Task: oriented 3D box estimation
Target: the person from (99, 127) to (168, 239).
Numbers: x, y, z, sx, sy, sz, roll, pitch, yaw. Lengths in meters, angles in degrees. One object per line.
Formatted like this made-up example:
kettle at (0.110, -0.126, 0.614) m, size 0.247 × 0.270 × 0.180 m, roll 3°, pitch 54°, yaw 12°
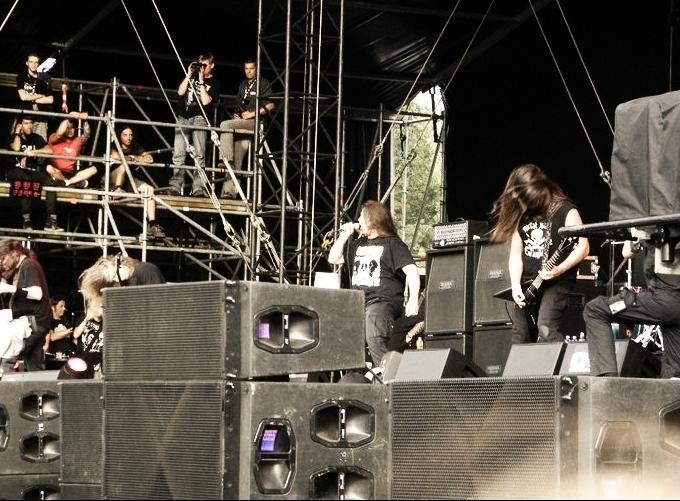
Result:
person at (-2.519, -0.877, 17.414) m, size 0.671 × 1.534 × 1.731 m, roll -1°, pitch -4°, yaw -9°

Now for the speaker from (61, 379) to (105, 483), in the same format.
speaker at (-2.099, 1.476, 11.345) m, size 0.430 × 0.844 × 0.123 m, roll -2°, pitch -4°, yaw 20°

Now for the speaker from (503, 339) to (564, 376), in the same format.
speaker at (1.468, 0.814, 10.557) m, size 0.459 × 0.233 × 0.267 m, roll -2°, pitch -4°, yaw 8°

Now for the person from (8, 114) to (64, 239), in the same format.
person at (-3.676, -0.951, 16.830) m, size 0.615 × 1.459 × 0.665 m, roll 0°, pitch -4°, yaw -22°

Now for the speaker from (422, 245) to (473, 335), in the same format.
speaker at (0.909, 0.379, 14.222) m, size 0.657 × 0.878 × 0.607 m, roll -2°, pitch 8°, yaw -22°

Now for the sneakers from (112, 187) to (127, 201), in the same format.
sneakers at (-2.690, -0.715, 17.099) m, size 0.115 × 0.136 × 0.335 m, roll 1°, pitch -7°, yaw -10°

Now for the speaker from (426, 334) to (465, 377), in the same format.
speaker at (1.060, 1.041, 13.547) m, size 0.252 × 0.430 × 0.466 m, roll 1°, pitch -10°, yaw 20°

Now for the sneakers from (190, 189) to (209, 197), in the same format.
sneakers at (-1.735, -0.726, 17.384) m, size 0.106 × 0.062 × 0.142 m, roll -1°, pitch -4°, yaw 25°

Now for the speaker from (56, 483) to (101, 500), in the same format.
speaker at (-2.075, 1.935, 11.224) m, size 0.300 × 0.093 × 0.656 m, roll 0°, pitch -4°, yaw -13°

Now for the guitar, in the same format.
guitar at (1.703, 0.204, 11.933) m, size 0.739 × 0.384 × 0.109 m, roll -44°, pitch 13°, yaw 27°

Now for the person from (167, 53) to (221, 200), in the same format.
person at (-1.826, -1.564, 17.421) m, size 0.598 × 1.766 × 0.901 m, roll -1°, pitch -4°, yaw -7°

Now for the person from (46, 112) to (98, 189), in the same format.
person at (-3.312, -1.270, 17.204) m, size 0.676 × 0.911 × 0.707 m, roll 5°, pitch 4°, yaw 15°

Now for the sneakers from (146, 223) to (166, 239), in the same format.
sneakers at (-2.248, -0.250, 17.163) m, size 0.208 × 0.192 × 0.284 m, roll -1°, pitch -4°, yaw -7°

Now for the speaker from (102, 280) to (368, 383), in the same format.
speaker at (-0.718, 0.587, 10.266) m, size 1.064 × 0.470 × 1.039 m, roll 2°, pitch -6°, yaw -35°

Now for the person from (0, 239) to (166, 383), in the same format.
person at (-1.924, 0.585, 12.698) m, size 1.539 × 1.369 × 0.368 m, roll -2°, pitch -1°, yaw 28°

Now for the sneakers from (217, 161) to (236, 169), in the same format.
sneakers at (-1.445, -1.110, 17.869) m, size 0.161 × 0.157 × 0.052 m, roll -3°, pitch 20°, yaw 23°
